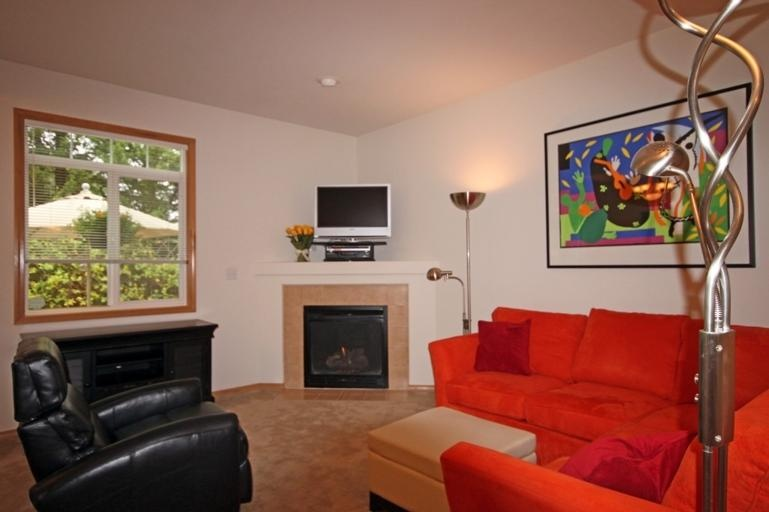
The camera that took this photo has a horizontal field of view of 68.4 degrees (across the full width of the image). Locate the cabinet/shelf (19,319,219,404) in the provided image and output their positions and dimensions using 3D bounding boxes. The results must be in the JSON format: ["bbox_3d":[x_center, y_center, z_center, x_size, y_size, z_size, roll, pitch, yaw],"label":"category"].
[{"bbox_3d":[-2.496,1.151,5.525,1.533,0.842,0.450,-2,8,-36],"label":"cabinet/shelf"}]

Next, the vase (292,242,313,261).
[{"bbox_3d":[-0.947,-0.028,6.728,0.202,0.301,0.188,0,-1,-35],"label":"vase"}]

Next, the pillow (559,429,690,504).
[{"bbox_3d":[1.234,1.045,2.936,0.391,0.122,0.424,-19,4,-44],"label":"pillow"}]

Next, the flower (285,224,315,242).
[{"bbox_3d":[-0.986,-0.266,6.633,0.224,0.134,0.222,0,0,32],"label":"flower"}]

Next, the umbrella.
[{"bbox_3d":[-2.946,-0.175,5.792,1.191,1.072,1.297,0,1,43],"label":"umbrella"}]
